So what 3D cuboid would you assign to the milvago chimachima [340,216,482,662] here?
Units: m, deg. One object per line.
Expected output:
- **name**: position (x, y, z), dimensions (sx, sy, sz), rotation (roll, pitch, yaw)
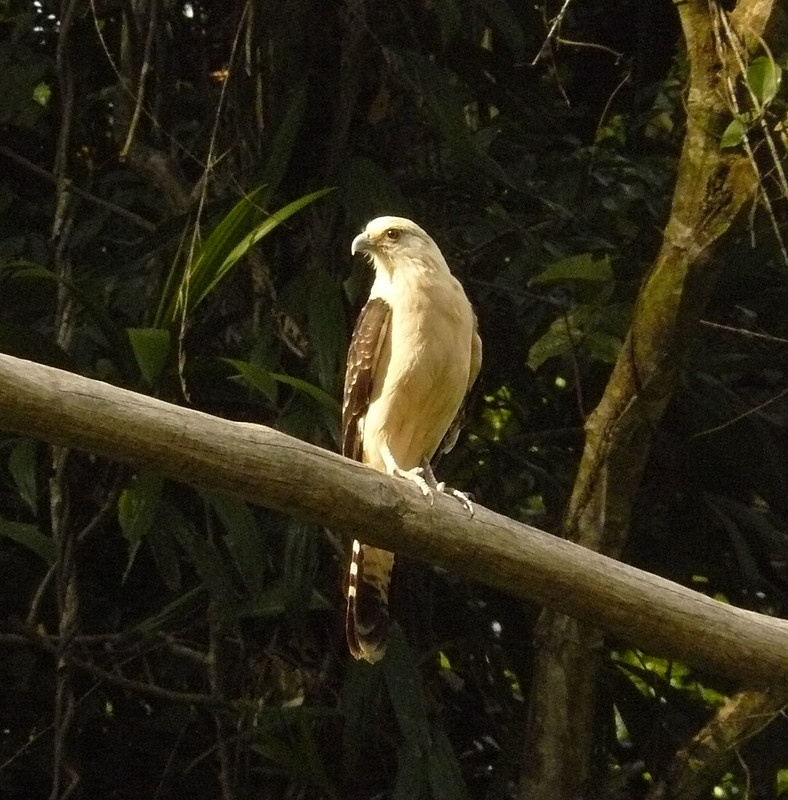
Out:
- **milvago chimachima**: position (0.000, 0.217, 5.317), dimensions (0.575, 1.699, 1.057), rotation (8, 24, -2)
